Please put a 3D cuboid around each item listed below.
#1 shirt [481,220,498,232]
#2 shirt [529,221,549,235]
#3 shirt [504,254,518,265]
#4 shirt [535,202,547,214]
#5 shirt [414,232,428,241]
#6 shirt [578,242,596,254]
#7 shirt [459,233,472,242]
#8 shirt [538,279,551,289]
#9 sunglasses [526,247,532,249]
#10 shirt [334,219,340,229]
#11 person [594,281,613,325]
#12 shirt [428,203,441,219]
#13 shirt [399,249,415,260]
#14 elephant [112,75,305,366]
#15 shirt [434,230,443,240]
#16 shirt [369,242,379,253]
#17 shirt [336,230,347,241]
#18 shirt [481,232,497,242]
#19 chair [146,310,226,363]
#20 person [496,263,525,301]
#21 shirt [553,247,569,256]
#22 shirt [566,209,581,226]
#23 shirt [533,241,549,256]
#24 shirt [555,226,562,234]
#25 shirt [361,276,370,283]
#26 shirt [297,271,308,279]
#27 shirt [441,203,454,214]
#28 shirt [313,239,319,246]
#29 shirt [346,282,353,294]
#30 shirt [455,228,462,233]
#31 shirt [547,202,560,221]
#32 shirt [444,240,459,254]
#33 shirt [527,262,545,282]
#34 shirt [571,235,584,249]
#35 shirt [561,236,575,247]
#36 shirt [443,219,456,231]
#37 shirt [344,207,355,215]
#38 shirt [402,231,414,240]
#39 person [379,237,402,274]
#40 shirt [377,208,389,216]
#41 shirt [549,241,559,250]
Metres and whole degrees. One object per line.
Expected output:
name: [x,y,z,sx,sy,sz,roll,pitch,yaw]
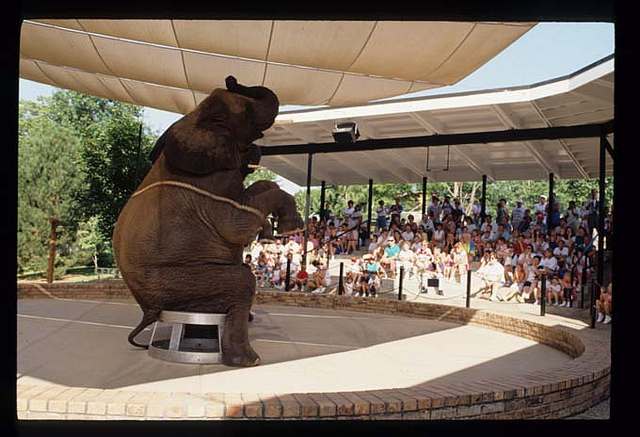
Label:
shirt: [5.519,0.260,18.520,0.594,0.440,0.318,-7,-19,42]
shirt: [7.517,0.324,19.221,0.455,0.693,0.255,-5,8,32]
shirt: [5.230,1.118,15.447,0.174,0.260,0.382,5,-7,-37]
shirt: [7.843,-0.380,20.154,0.350,0.431,0.635,-1,-6,19]
shirt: [3.390,0.588,18.842,0.278,0.479,0.381,-6,-5,23]
shirt: [7.187,0.808,15.361,0.448,0.256,0.333,17,9,26]
shirt: [4.739,0.594,18.478,0.386,0.253,0.244,1,-6,4]
shirt: [5.561,1.624,13.873,0.205,0.177,0.157,-15,12,-33]
sunglasses: [5.416,0.763,14.711,0.106,0.034,0.047,0,-6,10]
shirt: [0.729,0.224,25.563,0.391,0.508,0.207,-1,3,-16]
person: [5.440,1.645,10.874,0.281,0.694,1.018,-2,-7,25]
shirt: [4.222,-0.315,20.708,0.375,0.526,0.635,2,-6,-7]
shirt: [2.592,1.072,16.874,0.493,0.348,0.252,0,-9,7]
elephant: [-1.522,-0.100,7.596,2.173,3.947,1.139,3,-6,-18]
shirt: [3.783,0.553,18.430,0.385,0.384,0.219,2,-15,2]
shirt: [1.721,0.926,18.294,0.324,0.296,0.176,1,-14,5]
shirt: [0.786,0.637,21.068,0.399,0.397,0.564,1,-6,1]
shirt: [5.370,0.570,17.967,0.298,0.286,0.126,8,1,-5]
chair: [-1.548,1.583,7.608,1.001,0.441,0.992,3,-22,-11]
person: [4.969,1.647,14.679,0.624,0.942,0.407,-1,-6,18]
shirt: [6.456,0.853,15.158,0.270,0.244,0.115,3,-25,12]
shirt: [7.860,-0.062,17.563,0.412,0.513,0.573,-2,-6,24]
shirt: [6.270,0.835,16.103,0.182,0.427,0.442,15,-11,-41]
shirt: [7.170,0.338,17.027,0.177,0.054,0.189,-30,19,32]
shirt: [1.203,1.623,15.098,0.128,0.164,0.066,2,-10,13]
shirt: [-0.520,1.620,16.271,0.304,0.264,0.174,2,-18,1]
shirt: [4.663,-0.361,20.852,0.240,0.317,0.324,-10,-28,41]
shirt: [-0.162,0.832,19.884,0.205,0.247,0.434,1,-6,2]
shirt: [0.776,1.873,15.301,0.183,0.299,0.128,0,-6,12]
shirt: [4.607,0.388,18.939,0.245,0.162,0.118,-4,-8,40]
shirt: [7.596,-0.268,18.377,0.716,0.575,0.163,6,-7,-39]
shirt: [4.082,0.872,17.615,0.308,0.396,0.148,4,7,4]
shirt: [5.547,1.360,14.530,0.535,0.491,0.211,3,-7,42]
shirt: [7.246,0.638,15.888,0.359,0.460,0.166,6,-6,19]
shirt: [6.941,0.603,15.918,0.427,0.406,0.167,0,-33,6]
shirt: [4.343,0.217,19.275,0.409,0.438,0.663,-2,-7,25]
shirt: [1.183,-0.311,22.939,0.376,0.306,0.546,1,-6,2]
shirt: [2.884,0.590,18.751,0.441,0.325,0.242,0,-16,10]
person: [2.106,1.126,17.159,0.681,1.139,0.688,1,9,24]
shirt: [2.437,-0.273,22.048,0.468,0.411,0.250,6,-25,0]
shirt: [6.505,0.734,15.783,0.195,0.194,0.200,-3,-7,28]
